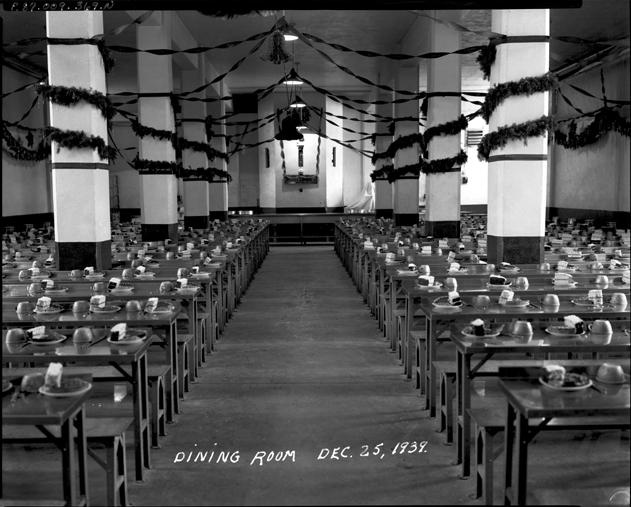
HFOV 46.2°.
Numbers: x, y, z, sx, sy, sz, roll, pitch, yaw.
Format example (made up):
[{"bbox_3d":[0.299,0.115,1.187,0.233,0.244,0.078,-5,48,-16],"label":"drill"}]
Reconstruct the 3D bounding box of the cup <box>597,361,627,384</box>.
[{"bbox_3d":[1.806,0.728,4.518,0.132,0.078,0.133,-2,4,0],"label":"cup"}]

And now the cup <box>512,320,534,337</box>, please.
[{"bbox_3d":[1.424,0.522,5.122,0.111,0.077,0.110,0,3,0],"label":"cup"}]

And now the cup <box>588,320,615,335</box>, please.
[{"bbox_3d":[1.961,0.515,5.122,0.120,0.073,0.119,-3,8,0],"label":"cup"}]

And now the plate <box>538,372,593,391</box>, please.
[{"bbox_3d":[1.503,0.775,4.452,0.301,0.084,0.160,2,8,16],"label":"plate"}]

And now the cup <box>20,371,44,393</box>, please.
[{"bbox_3d":[-1.666,0.764,4.366,0.112,0.073,0.109,1,5,0],"label":"cup"}]
